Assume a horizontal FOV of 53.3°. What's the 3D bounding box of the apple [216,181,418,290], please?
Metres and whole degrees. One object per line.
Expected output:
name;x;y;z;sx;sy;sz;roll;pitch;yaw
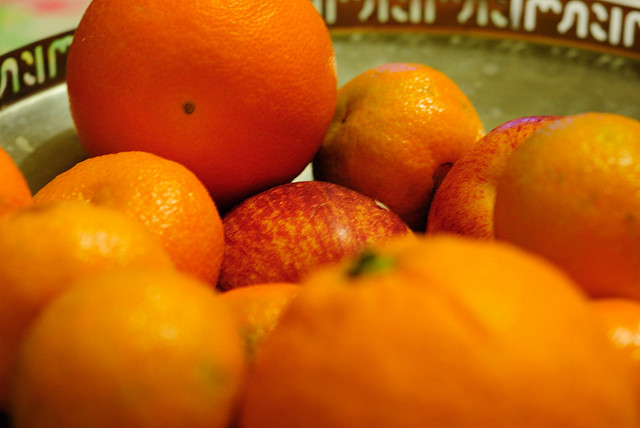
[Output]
apple;-0.010;0.015;0.598;0.138;0.126;0.117;-10;13;-8

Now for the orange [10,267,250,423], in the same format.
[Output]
orange;-0.135;0.078;0.440;0.129;0.113;0.114;9;10;-37
